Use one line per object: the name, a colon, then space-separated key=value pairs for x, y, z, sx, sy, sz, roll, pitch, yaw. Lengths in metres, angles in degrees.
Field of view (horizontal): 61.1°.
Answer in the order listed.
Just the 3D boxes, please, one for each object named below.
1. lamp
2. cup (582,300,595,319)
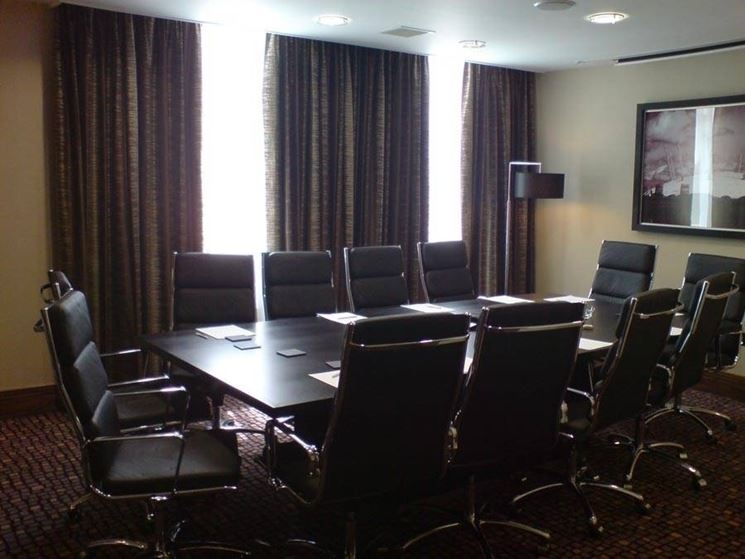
lamp: x=1.861 y=-0.609 z=7.517 sx=0.554 sy=1.578 sz=0.921 roll=-2 pitch=14 yaw=-3
cup: x=1.500 y=0.204 z=4.376 sx=0.123 sy=0.132 sz=0.148 roll=1 pitch=-6 yaw=18
